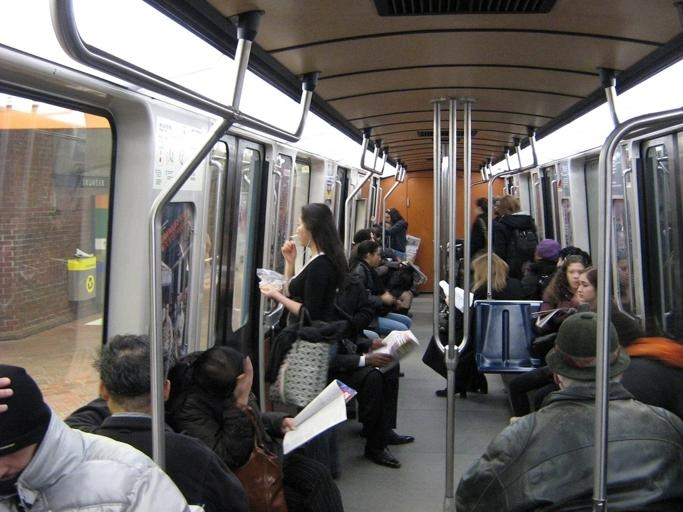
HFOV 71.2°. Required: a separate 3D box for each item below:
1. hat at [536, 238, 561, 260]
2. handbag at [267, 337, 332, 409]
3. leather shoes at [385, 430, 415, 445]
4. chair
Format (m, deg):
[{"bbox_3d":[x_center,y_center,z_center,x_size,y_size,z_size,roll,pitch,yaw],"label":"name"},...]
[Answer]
[{"bbox_3d":[3.026,-0.109,7.073,0.253,0.342,0.343,2,20,-7],"label":"hat"},{"bbox_3d":[-0.320,0.968,4.074,0.441,0.590,0.222,21,-17,-5],"label":"handbag"},{"bbox_3d":[0.647,2.062,5.451,0.386,0.172,0.131,-3,0,-3],"label":"leather shoes"},{"bbox_3d":[1.860,0.891,5.614,0.732,0.862,0.779,-1,2,10],"label":"chair"}]
